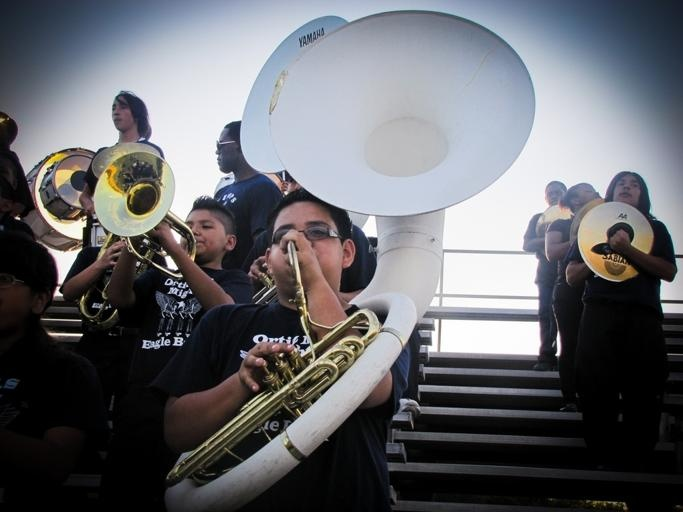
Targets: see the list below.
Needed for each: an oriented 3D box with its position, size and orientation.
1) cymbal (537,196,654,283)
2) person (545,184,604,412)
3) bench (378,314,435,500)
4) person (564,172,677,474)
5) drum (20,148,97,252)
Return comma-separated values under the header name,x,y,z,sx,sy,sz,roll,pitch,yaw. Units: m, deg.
name,x,y,z,sx,sy,sz,roll,pitch,yaw
cymbal,1.843,-0.117,3.319,0.315,0.586,0.456,-1,2,-41
person,1.847,0.379,3.953,0.418,2.227,0.406,2,1,23
bench,0.498,1.008,3.417,0.346,1.530,0.406,2,5,-27
person,1.915,0.462,3.430,0.570,2.039,0.578,3,1,18
drum,-3.229,-0.665,5.897,0.925,1.808,0.839,4,3,42
